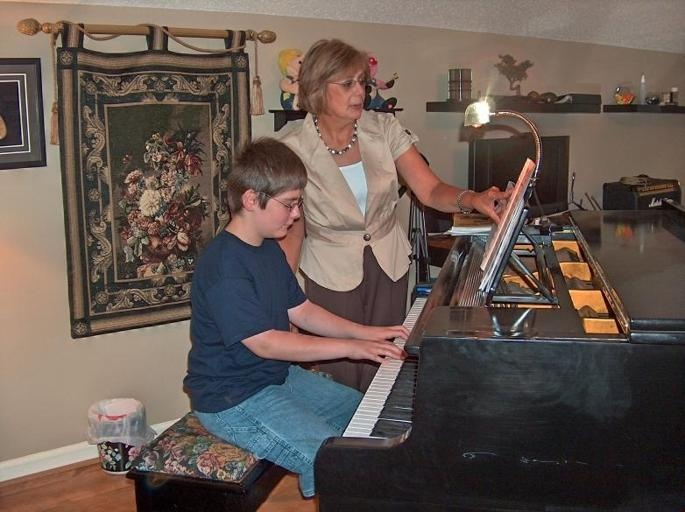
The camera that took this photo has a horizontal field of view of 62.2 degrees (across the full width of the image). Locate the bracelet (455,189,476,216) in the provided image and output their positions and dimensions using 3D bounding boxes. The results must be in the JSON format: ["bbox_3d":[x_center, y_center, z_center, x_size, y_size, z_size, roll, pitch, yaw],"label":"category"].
[{"bbox_3d":[0.496,-0.206,2.231,0.034,0.109,0.108,-1,0,-27],"label":"bracelet"}]

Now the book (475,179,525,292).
[{"bbox_3d":[0.432,-0.063,1.515,0.059,0.248,0.262,21,21,13],"label":"book"}]

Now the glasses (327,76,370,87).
[{"bbox_3d":[0.036,-0.659,2.158,0.174,0.035,0.049,-12,18,-30],"label":"glasses"}]

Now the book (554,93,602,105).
[{"bbox_3d":[1.848,-1.245,4.495,0.218,0.050,0.198,0,6,-6],"label":"book"}]
